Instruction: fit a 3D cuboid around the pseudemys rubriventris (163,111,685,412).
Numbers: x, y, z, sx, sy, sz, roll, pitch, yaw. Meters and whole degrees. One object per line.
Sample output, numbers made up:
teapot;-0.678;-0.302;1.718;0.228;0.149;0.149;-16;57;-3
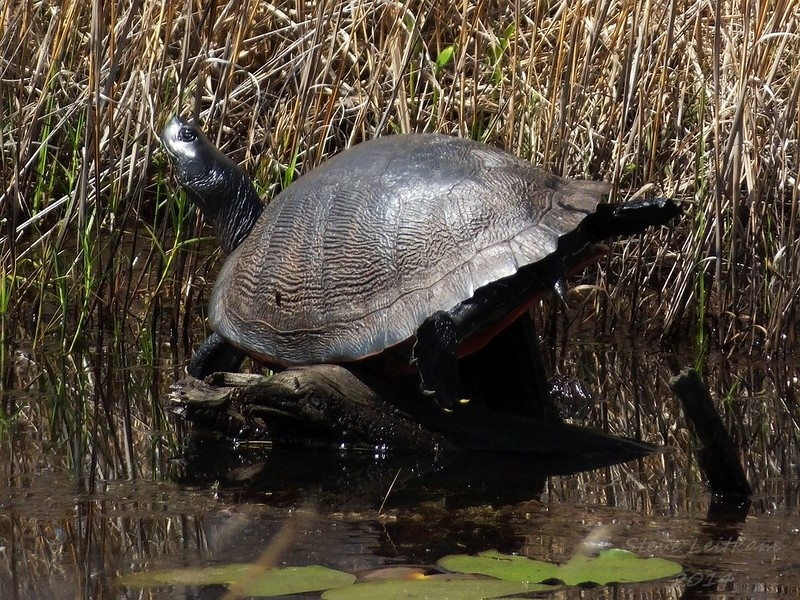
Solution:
pseudemys rubriventris;-0.112;-0.078;5.002;1.547;0.568;1.160;-8;23;47
